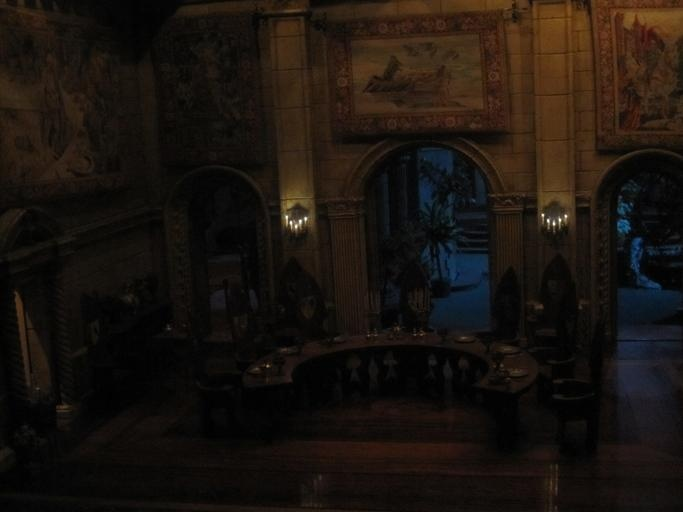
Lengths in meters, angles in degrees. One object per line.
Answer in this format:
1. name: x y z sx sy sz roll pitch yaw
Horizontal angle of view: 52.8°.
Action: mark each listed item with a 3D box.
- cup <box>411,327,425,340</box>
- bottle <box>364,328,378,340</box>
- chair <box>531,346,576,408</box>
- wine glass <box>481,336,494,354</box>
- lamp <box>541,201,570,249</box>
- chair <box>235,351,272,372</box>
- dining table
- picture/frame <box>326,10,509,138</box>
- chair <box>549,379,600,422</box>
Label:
1. cup: 1.171 1.189 10.485 0.162 0.170 0.165 0 5 0
2. bottle: 0.445 1.197 10.489 0.158 0.126 0.162 1 8 0
3. chair: 3.030 1.588 9.945 0.649 0.876 1.000 1 10 7
4. wine glass: 2.072 1.291 9.889 0.198 0.220 0.201 -1 6 2
5. lamp: 3.673 -0.533 11.908 0.470 0.885 0.251 1 9 11
6. chair: -1.324 1.567 10.207 0.370 0.449 0.337 -1 17 7
7. dining table: 0.706 1.756 10.101 3.807 1.123 2.535 -1 14 7
8. picture/frame: 1.377 -3.178 12.027 2.957 1.988 0.478 0 14 12
9. chair: 3.019 1.848 8.895 0.532 0.377 0.758 3 15 20
